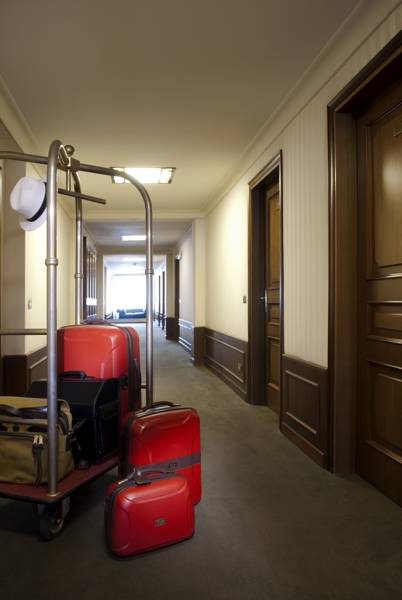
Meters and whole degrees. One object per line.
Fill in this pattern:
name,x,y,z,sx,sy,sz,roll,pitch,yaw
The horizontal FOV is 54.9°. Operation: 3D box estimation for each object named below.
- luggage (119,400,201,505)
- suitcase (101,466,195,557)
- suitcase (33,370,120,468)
luggage,-0.156,0.699,1.814,0.320,0.602,0.201,-9,24,-15
suitcase,-0.185,0.780,1.516,0.311,0.345,0.200,-8,21,-19
suitcase,-0.667,0.554,1.956,0.312,0.486,0.299,-4,12,-19
